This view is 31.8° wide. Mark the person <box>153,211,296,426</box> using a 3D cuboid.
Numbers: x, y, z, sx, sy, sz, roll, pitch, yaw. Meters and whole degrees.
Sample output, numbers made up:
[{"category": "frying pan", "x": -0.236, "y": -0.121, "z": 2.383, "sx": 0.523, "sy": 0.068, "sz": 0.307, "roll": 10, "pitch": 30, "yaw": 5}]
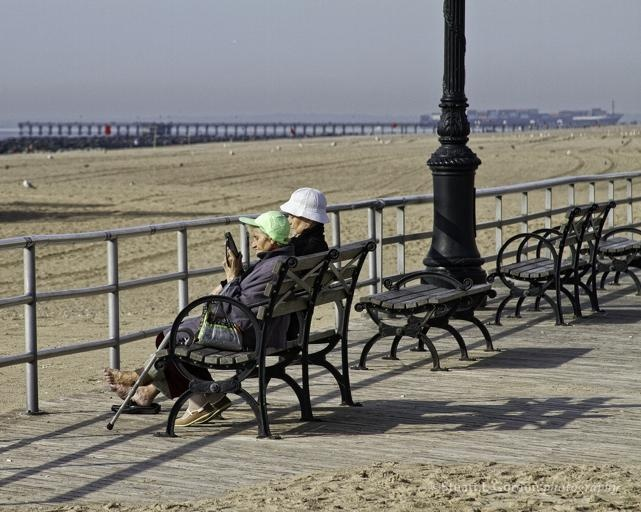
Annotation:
[{"category": "person", "x": -0.622, "y": 0.474, "z": 7.104, "sx": 0.695, "sy": 0.817, "sz": 1.458, "roll": -8, "pitch": -2, "yaw": -26}]

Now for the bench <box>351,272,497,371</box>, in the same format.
[{"category": "bench", "x": 0.854, "y": 0.482, "z": 9.110, "sx": 0.888, "sy": 0.564, "sz": 1.534, "roll": 4, "pitch": 5, "yaw": 19}]

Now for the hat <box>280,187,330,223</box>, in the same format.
[{"category": "hat", "x": -0.101, "y": -0.393, "z": 7.823, "sx": 0.345, "sy": 0.164, "sz": 0.394, "roll": 3, "pitch": 22, "yaw": -28}]

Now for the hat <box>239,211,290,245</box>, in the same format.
[{"category": "hat", "x": -0.383, "y": -0.188, "z": 7.238, "sx": 0.305, "sy": 0.123, "sz": 0.188, "roll": 12, "pitch": -27, "yaw": -43}]

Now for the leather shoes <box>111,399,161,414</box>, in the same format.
[{"category": "leather shoes", "x": -1.270, "y": 1.015, "z": 7.643, "sx": 0.375, "sy": 0.114, "sz": 0.111, "roll": 1, "pitch": -2, "yaw": 2}]

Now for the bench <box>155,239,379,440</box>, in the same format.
[{"category": "bench", "x": -0.288, "y": 0.517, "z": 7.381, "sx": 0.847, "sy": 1.167, "sz": 1.329, "roll": 5, "pitch": 12, "yaw": 32}]

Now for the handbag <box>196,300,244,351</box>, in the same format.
[{"category": "handbag", "x": -0.649, "y": 0.415, "z": 7.084, "sx": 0.374, "sy": 0.332, "sz": 0.132, "roll": 14, "pitch": -4, "yaw": -26}]

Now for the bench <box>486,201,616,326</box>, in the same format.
[{"category": "bench", "x": 2.355, "y": 0.101, "z": 11.421, "sx": 0.973, "sy": 0.982, "sz": 1.868, "roll": 1, "pitch": 2, "yaw": 29}]

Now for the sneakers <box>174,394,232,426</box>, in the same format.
[{"category": "sneakers", "x": -0.763, "y": 1.031, "z": 7.458, "sx": 0.438, "sy": 0.139, "sz": 0.147, "roll": -19, "pitch": 8, "yaw": -1}]
